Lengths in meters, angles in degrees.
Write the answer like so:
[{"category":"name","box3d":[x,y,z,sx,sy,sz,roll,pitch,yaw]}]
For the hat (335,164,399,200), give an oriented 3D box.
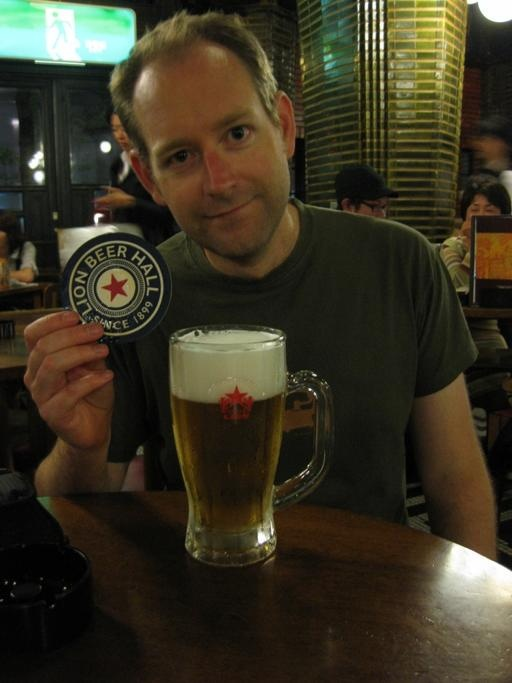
[{"category":"hat","box3d":[0.638,-0.938,3.488,0.322,0.158,0.198,1,28,13]}]
